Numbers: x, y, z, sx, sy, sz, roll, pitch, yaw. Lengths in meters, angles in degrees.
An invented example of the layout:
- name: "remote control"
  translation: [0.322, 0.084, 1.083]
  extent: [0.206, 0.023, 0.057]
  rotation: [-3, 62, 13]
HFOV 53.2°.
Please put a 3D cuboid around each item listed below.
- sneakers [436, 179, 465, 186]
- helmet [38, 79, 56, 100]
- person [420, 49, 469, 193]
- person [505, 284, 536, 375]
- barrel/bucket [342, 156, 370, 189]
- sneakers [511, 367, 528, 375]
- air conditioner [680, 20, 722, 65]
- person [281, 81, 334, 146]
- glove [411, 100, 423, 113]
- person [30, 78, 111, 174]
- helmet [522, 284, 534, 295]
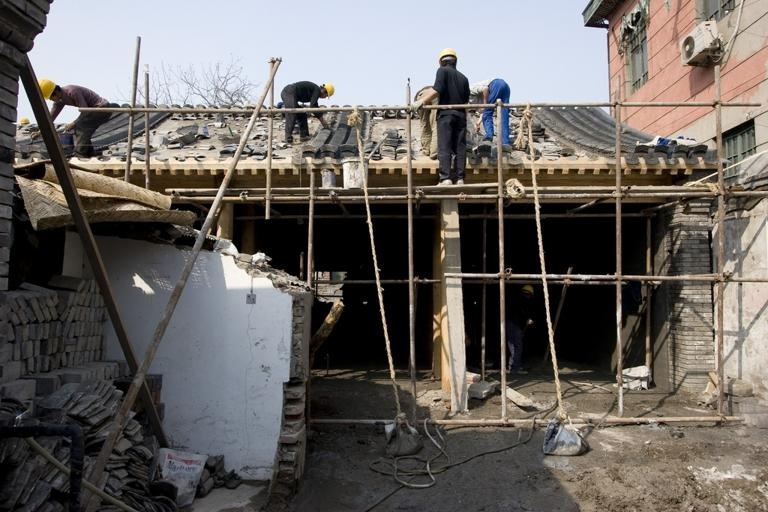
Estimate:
- name: "sneakers"
  translation: [1.145, -1.288, 13.382]
  extent: [0.447, 0.166, 0.158]
  rotation: [1, -2, 1]
- name: "helmet"
  translation: [-6.458, -3.209, 14.671]
  extent: [0.281, 0.385, 0.513]
  rotation: [2, 3, -7]
- name: "person"
  translation: [1.092, -2.459, 13.406]
  extent: [0.766, 2.452, 1.001]
  rotation: [4, 3, 30]
- name: "person"
  translation: [2.808, 1.515, 16.204]
  extent: [0.569, 1.921, 0.570]
  rotation: [3, 3, 9]
- name: "barrel/bucket"
  translation: [-0.525, -1.434, 13.180]
  extent: [0.397, 0.542, 0.598]
  rotation: [2, 3, -2]
- name: "sneakers"
  translation: [2.867, 2.445, 16.364]
  extent: [0.436, 0.178, 0.145]
  rotation: [-2, -3, 8]
- name: "air conditioner"
  translation: [6.723, -4.564, 16.532]
  extent: [0.439, 0.604, 1.004]
  rotation: [1, -7, -5]
- name: "person"
  translation: [-1.676, -2.998, 15.971]
  extent: [0.959, 1.343, 1.378]
  rotation: [2, 3, -4]
- name: "glove"
  translation: [0.524, -2.545, 12.999]
  extent: [0.175, 0.177, 0.373]
  rotation: [3, 3, 2]
- name: "person"
  translation: [-6.044, -2.643, 15.128]
  extent: [1.181, 1.489, 2.586]
  rotation: [1, 3, -21]
- name: "helmet"
  translation: [2.967, 0.685, 16.005]
  extent: [0.260, 0.186, 0.178]
  rotation: [2, 3, -7]
